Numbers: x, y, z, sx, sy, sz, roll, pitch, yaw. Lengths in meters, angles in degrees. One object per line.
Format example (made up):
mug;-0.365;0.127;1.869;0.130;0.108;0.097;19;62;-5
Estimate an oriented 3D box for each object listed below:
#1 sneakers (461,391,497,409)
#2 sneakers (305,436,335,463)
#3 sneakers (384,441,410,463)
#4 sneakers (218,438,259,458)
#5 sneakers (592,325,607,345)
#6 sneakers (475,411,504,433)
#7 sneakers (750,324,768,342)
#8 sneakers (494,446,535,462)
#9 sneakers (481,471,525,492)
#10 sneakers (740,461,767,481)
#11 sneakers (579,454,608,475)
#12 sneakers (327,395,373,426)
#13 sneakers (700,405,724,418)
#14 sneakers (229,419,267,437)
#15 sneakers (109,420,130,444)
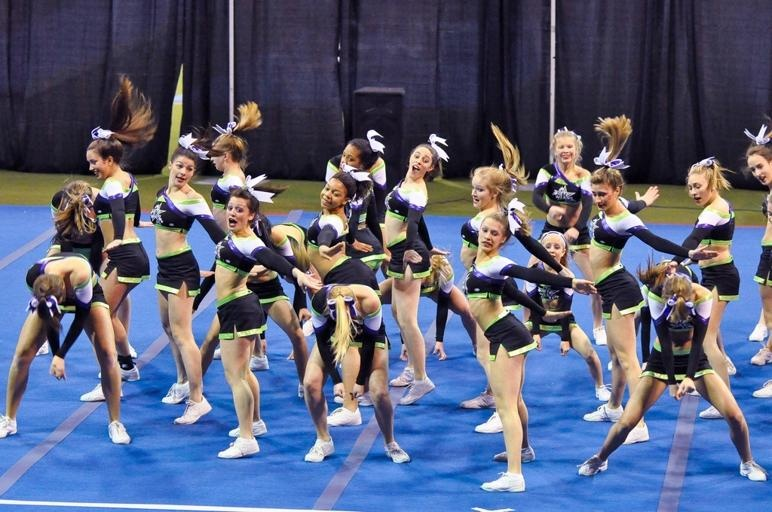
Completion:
sneakers;0.946;1.453;8.698;0.424;0.152;0.138;2;3;1
sneakers;-0.579;1.755;7.779;0.134;0.140;0.334;-1;-3;29
sneakers;0.092;1.768;7.708;0.139;0.111;0.251;-31;42;-18
sneakers;-1.302;1.726;7.744;0.409;0.158;0.150;-2;4;-6
sneakers;2.469;0.912;9.901;0.132;0.127;0.296;-9;17;-2
sneakers;0.972;1.596;8.245;0.391;0.227;0.159;-1;-3;2
sneakers;4.269;0.874;9.817;0.247;0.147;0.148;-12;8;-39
sneakers;1.123;1.767;7.735;0.411;0.167;0.139;0;0;-2
sneakers;1.018;1.912;7.328;0.428;0.175;0.151;2;-1;3
sneakers;3.169;1.854;7.415;0.130;0.087;0.217;-5;6;-27
sneakers;1.806;1.842;7.549;0.294;0.118;0.126;-22;-31;-2
sneakers;-0.273;1.502;8.392;0.605;0.233;0.209;-1;8;-13
sneakers;3.191;1.533;8.469;0.280;0.116;0.109;0;-1;22
sneakers;-1.301;1.612;8.141;0.403;0.155;0.137;-1;10;-7
sneakers;-2.477;1.622;7.977;0.181;0.199;0.250;-4;9;-23
